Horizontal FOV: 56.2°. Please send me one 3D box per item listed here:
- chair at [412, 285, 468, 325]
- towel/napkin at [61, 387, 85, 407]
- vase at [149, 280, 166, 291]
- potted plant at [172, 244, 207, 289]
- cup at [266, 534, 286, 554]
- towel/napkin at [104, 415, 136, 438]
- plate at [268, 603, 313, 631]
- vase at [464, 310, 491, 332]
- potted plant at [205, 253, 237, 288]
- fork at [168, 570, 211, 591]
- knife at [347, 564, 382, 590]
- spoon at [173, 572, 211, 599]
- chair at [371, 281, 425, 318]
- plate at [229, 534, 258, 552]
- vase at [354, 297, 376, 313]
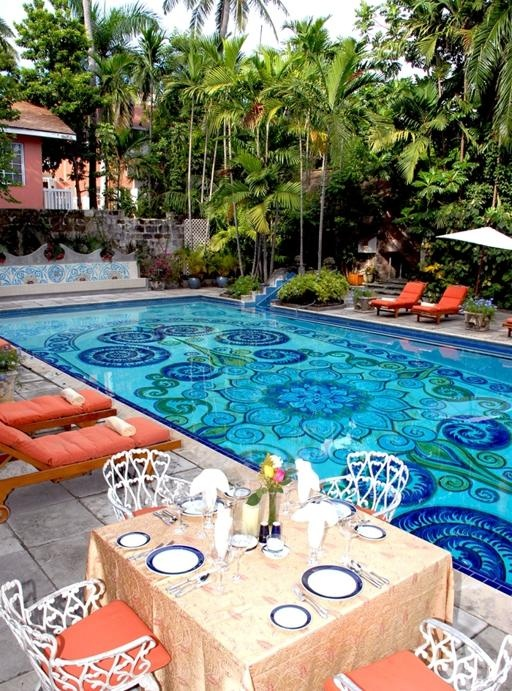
[{"bbox_3d":[5.348,-1.159,13.617,1.720,1.041,0.984,-11,17,-35],"label":"chair"},{"bbox_3d":[-2.175,0.615,5.738,0.182,0.128,0.337,-5,14,-32],"label":"towel/napkin"},{"bbox_3d":[-4.131,-2.493,19.943,0.553,0.357,0.406,0,19,-2],"label":"vase"},{"bbox_3d":[-2.900,-3.347,20.661,2.015,1.932,1.564,-4,9,-28],"label":"potted plant"},{"bbox_3d":[0.086,0.929,2.246,0.066,0.045,0.055,-4,18,-15],"label":"cup"},{"bbox_3d":[-1.348,0.821,4.788,0.284,0.097,0.168,21,1,41],"label":"towel/napkin"},{"bbox_3d":[0.123,0.981,1.739,0.148,0.045,0.169,1,13,2],"label":"plate"},{"bbox_3d":[5.753,-0.666,12.393,0.517,0.402,0.563,-7,14,-32],"label":"vase"},{"bbox_3d":[-1.546,-3.299,21.014,1.435,1.378,1.413,4,14,22],"label":"potted plant"},{"bbox_3d":[-0.268,0.976,1.987,0.049,0.012,0.158,23,12,23],"label":"fork"},{"bbox_3d":[0.476,0.990,2.070,0.041,0.015,0.132,-9,5,-20],"label":"knife"},{"bbox_3d":[-0.267,0.975,1.972,0.045,0.020,0.154,14,12,31],"label":"spoon"},{"bbox_3d":[4.302,-1.402,14.584,1.793,1.043,1.020,-9,15,-35],"label":"chair"},{"bbox_3d":[-0.061,0.920,2.255,0.126,0.034,0.120,1,13,-1],"label":"plate"},{"bbox_3d":[3.440,-1.317,15.454,0.505,0.329,0.480,-1,3,-10],"label":"vase"}]
